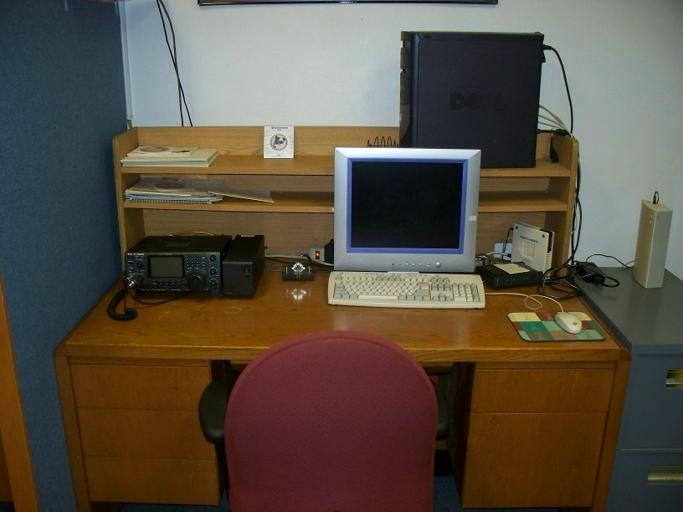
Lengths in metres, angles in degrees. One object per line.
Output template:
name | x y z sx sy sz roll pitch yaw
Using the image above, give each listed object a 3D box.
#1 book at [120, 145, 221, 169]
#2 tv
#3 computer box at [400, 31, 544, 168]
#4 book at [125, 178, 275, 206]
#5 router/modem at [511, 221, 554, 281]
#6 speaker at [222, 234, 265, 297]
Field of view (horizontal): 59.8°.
book | -0.709 -0.418 2.486 0.353 0.067 0.243 -1 16 -2
tv | 0.259 -0.203 2.389 0.528 0.470 0.061 0 12 1
computer box | 0.510 -0.632 2.472 0.537 0.508 0.303 0 8 -6
book | -0.578 -0.287 2.539 0.603 0.077 0.279 1 16 2
router/modem | 0.803 -0.028 2.542 0.032 0.190 0.222 -6 18 -22
speaker | -0.398 0.047 2.402 0.088 0.107 0.226 2 28 2
